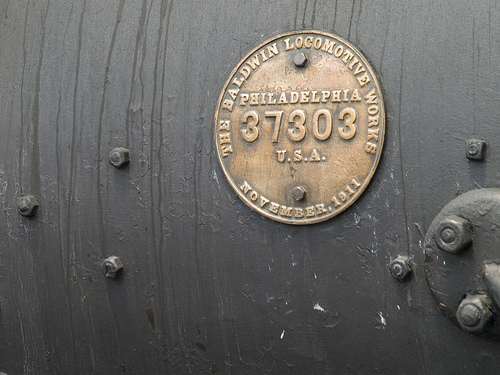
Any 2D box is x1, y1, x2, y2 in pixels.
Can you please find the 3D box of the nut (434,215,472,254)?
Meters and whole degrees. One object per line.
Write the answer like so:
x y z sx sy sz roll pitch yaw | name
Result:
0.725 0.159 1.892 0.076 0.150 0.137 -18 17 -40 | nut

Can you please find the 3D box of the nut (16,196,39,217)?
-1.035 0.079 2.445 0.083 0.094 0.078 7 7 42 | nut

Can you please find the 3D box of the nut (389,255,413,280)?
0.574 0.306 2.006 0.098 0.119 0.053 -11 2 41 | nut

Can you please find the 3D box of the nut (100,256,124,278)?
-0.613 0.352 2.350 0.062 0.072 0.025 17 13 24 | nut

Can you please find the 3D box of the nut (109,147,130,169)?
-0.587 -0.130 2.342 0.084 0.114 0.049 -4 -14 6 | nut

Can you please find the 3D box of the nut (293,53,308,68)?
0.203 -0.509 2.101 0.058 0.042 0.038 -12 -37 9 | nut
